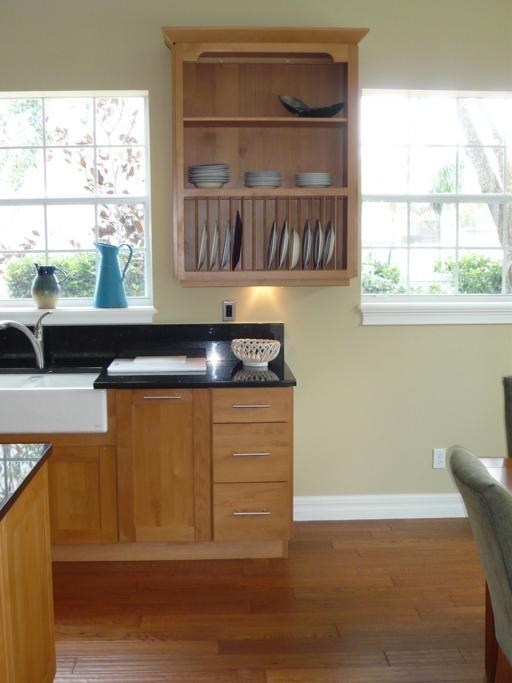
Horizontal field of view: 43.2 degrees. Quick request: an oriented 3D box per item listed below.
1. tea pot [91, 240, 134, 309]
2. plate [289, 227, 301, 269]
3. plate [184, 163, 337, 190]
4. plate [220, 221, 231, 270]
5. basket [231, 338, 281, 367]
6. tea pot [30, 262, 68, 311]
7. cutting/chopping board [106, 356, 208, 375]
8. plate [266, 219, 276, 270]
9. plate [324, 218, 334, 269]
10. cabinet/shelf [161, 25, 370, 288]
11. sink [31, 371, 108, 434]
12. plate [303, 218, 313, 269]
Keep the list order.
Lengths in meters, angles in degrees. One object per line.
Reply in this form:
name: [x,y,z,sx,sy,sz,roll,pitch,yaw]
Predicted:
tea pot: [-0.696,-0.326,3.164,0.188,0.316,0.236,-2,10,-9]
plate: [0.172,-0.412,2.895,0.051,0.177,0.079,1,10,4]
plate: [0.012,-0.732,2.921,0.625,0.101,0.240,-1,9,-4]
plate: [-0.129,-0.423,2.898,0.047,0.223,0.036,5,3,-26]
basket: [-0.004,0.057,2.976,0.203,0.130,0.259,0,9,-1]
tea pot: [-0.997,-0.258,3.089,0.126,0.221,0.143,-6,11,-31]
cutting/chopping board: [-0.440,0.105,2.907,0.429,0.040,0.320,-1,9,-6]
plate: [0.074,-0.423,2.878,0.052,0.193,0.029,4,0,21]
plate: [0.326,-0.435,2.920,0.058,0.186,0.069,1,-4,0]
cabinet/shelf: [0.060,-0.774,2.936,0.884,1.123,0.309,6,16,16]
sink: [-0.780,0.270,2.777,0.258,0.201,0.360,1,-1,-4]
plate: [0.228,-0.431,2.899,0.043,0.211,0.079,1,10,4]
